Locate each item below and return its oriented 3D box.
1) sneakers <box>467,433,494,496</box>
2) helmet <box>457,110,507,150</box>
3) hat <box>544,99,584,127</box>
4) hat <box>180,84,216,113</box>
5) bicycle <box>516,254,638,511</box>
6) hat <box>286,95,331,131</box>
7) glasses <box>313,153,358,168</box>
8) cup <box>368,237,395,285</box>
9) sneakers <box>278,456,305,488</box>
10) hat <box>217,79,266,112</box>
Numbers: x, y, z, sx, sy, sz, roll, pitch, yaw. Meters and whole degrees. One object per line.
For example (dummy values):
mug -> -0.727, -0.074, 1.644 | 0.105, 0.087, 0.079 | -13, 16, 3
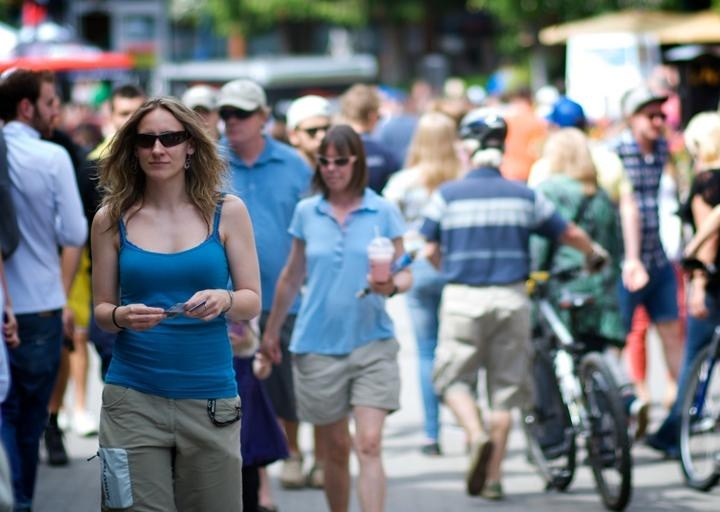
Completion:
sneakers -> 0.966, 1.743, 12.658 | 0.168, 0.518, 0.218 | 4, 20, -18
helmet -> 1.026, -1.092, 12.806 | 0.383, 0.346, 0.348 | -11, 20, -32
hat -> 2.021, -1.418, 14.944 | 0.335, 0.332, 0.335 | -7, -12, 38
hat -> -1.495, -1.464, 14.142 | 0.322, 0.277, 0.524 | -4, -12, -2
bicycle -> 1.849, 1.108, 12.936 | 0.421, 1.996, 1.227 | -1, 2, -37
hat -> -0.440, -1.253, 13.248 | 0.377, 0.299, 0.282 | 0, 2, -2
glasses -> -0.181, -0.741, 11.872 | 0.301, 0.090, 0.103 | 0, 2, -2
cup -> 0.160, 0.023, 11.619 | 0.187, 0.350, 0.233 | 0, 2, 0
sneakers -> -0.589, 1.873, 13.331 | 0.210, 0.287, 0.166 | 0, 2, -2
hat -> -1.008, -1.371, 12.997 | 0.422, 0.295, 0.322 | 0, 2, -3
